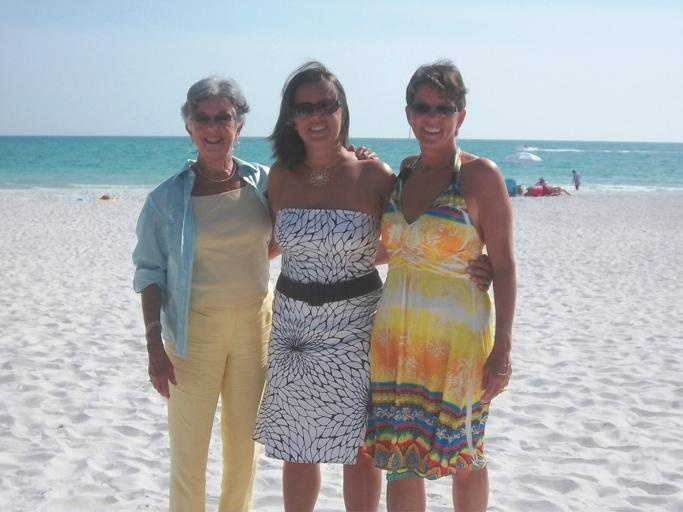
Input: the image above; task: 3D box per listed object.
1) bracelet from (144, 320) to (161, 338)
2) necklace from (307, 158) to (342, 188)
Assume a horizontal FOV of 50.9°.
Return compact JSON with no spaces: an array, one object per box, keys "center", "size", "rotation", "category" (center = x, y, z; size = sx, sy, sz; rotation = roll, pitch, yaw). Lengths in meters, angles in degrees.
[{"center":[-1.468,0.557,5.579],"size":[0.114,0.085,0.114],"rotation":[0,-3,-3],"category":"bracelet"},{"center":[-0.118,-0.651,5.669],"size":[0.150,0.348,0.016],"rotation":[25,-18,36],"category":"necklace"}]
